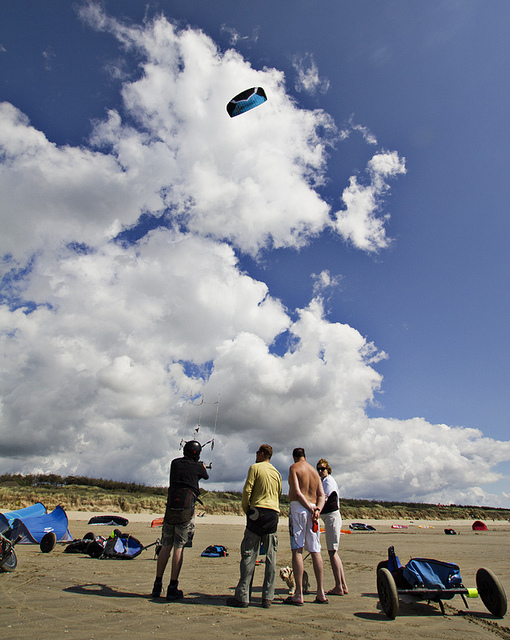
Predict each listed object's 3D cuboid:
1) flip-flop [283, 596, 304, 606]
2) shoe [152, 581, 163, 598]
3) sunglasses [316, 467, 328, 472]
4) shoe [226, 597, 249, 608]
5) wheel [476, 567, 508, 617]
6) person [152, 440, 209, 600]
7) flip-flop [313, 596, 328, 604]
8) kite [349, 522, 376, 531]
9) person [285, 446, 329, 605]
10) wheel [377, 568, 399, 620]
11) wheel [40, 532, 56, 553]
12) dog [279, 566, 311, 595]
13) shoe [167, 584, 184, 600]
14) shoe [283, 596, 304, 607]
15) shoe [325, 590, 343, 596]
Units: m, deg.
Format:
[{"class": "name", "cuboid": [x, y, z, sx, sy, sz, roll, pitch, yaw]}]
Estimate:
[{"class": "flip-flop", "cuboid": [0.503, 3.655, 6.505, 0.255, 0.084, 0.095, -14, -37, 38]}, {"class": "shoe", "cuboid": [-1.249, 3.448, 6.405, 0.073, 0.225, 0.099, 12, 12, -2]}, {"class": "sunglasses", "cuboid": [1.023, 2.307, 7.693, 0.046, 0.075, 0.183, 22, -31, -36]}, {"class": "shoe", "cuboid": [-0.211, 3.441, 6.117, 0.241, 0.119, 0.105, 11, -12, 15]}, {"class": "wheel", "cuboid": [3.126, 3.602, 6.607, 0.271, 0.554, 0.462, 5, -25, -7]}, {"class": "person", "cuboid": [-0.935, 2.543, 6.454, 0.555, 1.917, 0.872, 6, -25, -9]}, {"class": "flip-flop", "cuboid": [0.868, 3.731, 6.647, 0.193, 0.082, 0.214, 1, -25, 3]}, {"class": "kite", "cuboid": [8.743, 17.202, 41.554, 1.527, 0.646, 5.318, -1, -25, 7]}, {"class": "person", "cuboid": [0.680, 2.720, 6.647, 0.483, 1.907, 0.974, -2, -25, 9]}, {"class": "wheel", "cuboid": [1.615, 3.381, 6.173, 0.195, 0.543, 0.416, 11, -26, -19]}, {"class": "wheel", "cuboid": [-4.803, 5.169, 11.591, 0.354, 0.430, 0.271, 5, -25, -7]}, {"class": "dog", "cuboid": [0.569, 3.807, 7.276, 0.377, 0.350, 1.037, -1, -25, 7]}, {"class": "shoe", "cuboid": [-1.016, 3.469, 6.365, 0.196, 0.160, 0.238, 5, -25, -6]}, {"class": "shoe", "cuboid": [0.491, 3.657, 6.530, 0.294, 0.101, 0.111, 4, -32, 19]}, {"class": "shoe", "cuboid": [1.164, 4.008, 7.321, 0.169, 0.059, 0.213, 19, -30, -32]}]
